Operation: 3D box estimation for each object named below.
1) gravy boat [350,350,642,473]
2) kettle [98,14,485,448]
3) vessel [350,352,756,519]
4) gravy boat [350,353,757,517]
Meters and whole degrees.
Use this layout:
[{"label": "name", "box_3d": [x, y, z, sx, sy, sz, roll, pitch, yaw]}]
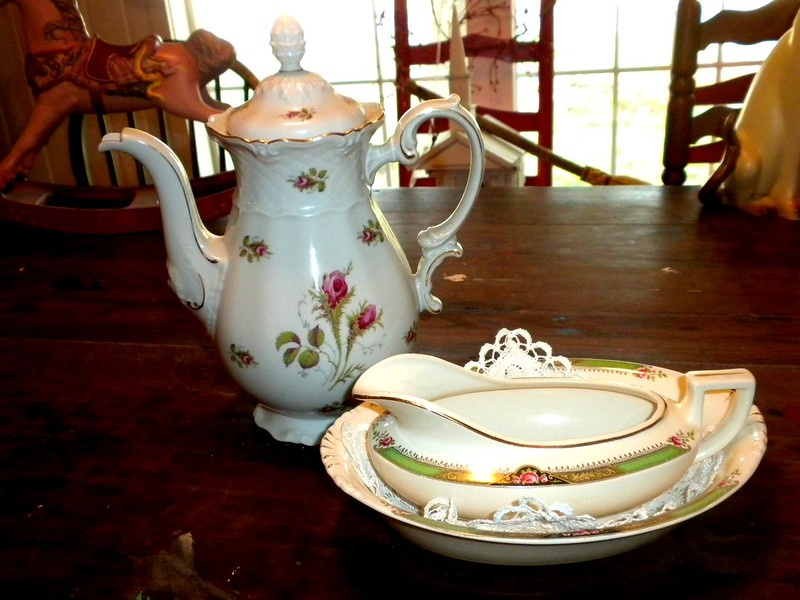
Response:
[{"label": "gravy boat", "box_3d": [0.072, 0.081, 0.510, 0.190, 0.046, 0.088, -2, 14, 0]}, {"label": "kettle", "box_3d": [-0.085, -0.066, 0.622, 0.214, 0.353, 0.216, 22, 37, 37]}, {"label": "vessel", "box_3d": [0.102, 0.100, 0.498, 0.257, 0.074, 0.126, -2, 16, 1]}, {"label": "gravy boat", "box_3d": [0.101, 0.100, 0.494, 0.255, 0.073, 0.126, -2, 17, 1]}]
